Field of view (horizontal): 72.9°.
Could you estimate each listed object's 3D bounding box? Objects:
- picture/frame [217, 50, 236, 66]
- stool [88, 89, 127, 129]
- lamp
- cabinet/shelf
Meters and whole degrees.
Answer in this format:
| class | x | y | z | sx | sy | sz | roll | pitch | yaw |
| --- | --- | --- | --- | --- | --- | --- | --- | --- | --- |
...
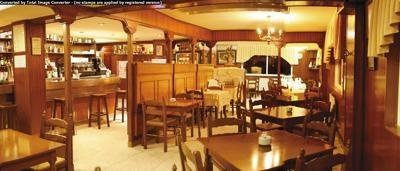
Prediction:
| class | x | y | z | sx | sy | sz | roll | pitch | yaw |
| --- | --- | --- | --- | --- | --- | --- | --- | --- | --- |
| picture/frame | 1.674 | -1.779 | 17.297 | 1.653 | 0.846 | 0.183 | 1 | 5 | 5 |
| stool | -3.972 | 1.033 | 11.498 | 0.756 | 1.000 | 1.957 | 3 | 2 | 25 |
| lamp | 3.087 | -2.448 | 12.115 | 1.157 | 1.007 | 1.006 | 3 | 7 | 21 |
| cabinet/shelf | -7.663 | -1.569 | 14.038 | 2.957 | 2.177 | 3.360 | 0 | 4 | 10 |
